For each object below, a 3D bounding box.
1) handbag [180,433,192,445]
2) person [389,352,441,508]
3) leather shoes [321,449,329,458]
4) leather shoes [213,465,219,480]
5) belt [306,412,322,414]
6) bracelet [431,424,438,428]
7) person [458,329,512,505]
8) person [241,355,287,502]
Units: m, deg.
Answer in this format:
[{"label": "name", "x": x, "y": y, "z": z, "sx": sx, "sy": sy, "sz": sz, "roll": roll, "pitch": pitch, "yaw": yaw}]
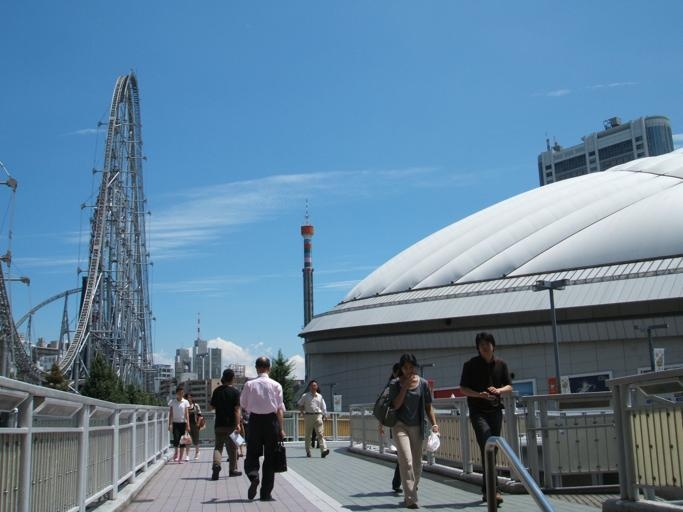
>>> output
[{"label": "handbag", "x": -3.794, "y": 4.507, "z": 16.014, "sx": 0.273, "sy": 0.337, "sz": 0.709, "roll": 0, "pitch": -12, "yaw": -13}, {"label": "person", "x": 1.043, "y": 2.453, "z": 9.247, "sx": 0.612, "sy": 2.090, "sz": 0.487, "roll": 5, "pitch": -12, "yaw": -35}, {"label": "leather shoes", "x": -0.359, "y": 5.112, "z": 16.817, "sx": 0.139, "sy": 0.288, "sz": 0.266, "roll": 7, "pitch": -14, "yaw": -28}, {"label": "leather shoes", "x": -2.347, "y": 4.086, "z": 12.266, "sx": 0.098, "sy": 0.321, "sz": 0.203, "roll": 0, "pitch": 1, "yaw": -6}, {"label": "belt", "x": -0.714, "y": 4.160, "z": 17.188, "sx": 0.405, "sy": 0.067, "sz": 0.110, "roll": -2, "pitch": -11, "yaw": -7}, {"label": "bracelet", "x": 1.386, "y": 2.489, "z": 9.510, "sx": 0.052, "sy": 0.053, "sz": 0.055, "roll": 0, "pitch": -2, "yaw": 17}, {"label": "person", "x": 2.027, "y": 2.004, "z": 9.053, "sx": 0.691, "sy": 1.891, "sz": 0.440, "roll": -4, "pitch": -10, "yaw": 10}, {"label": "person", "x": -1.181, "y": 2.617, "z": 9.927, "sx": 0.648, "sy": 2.110, "sz": 0.441, "roll": -1, "pitch": -10, "yaw": -9}]
